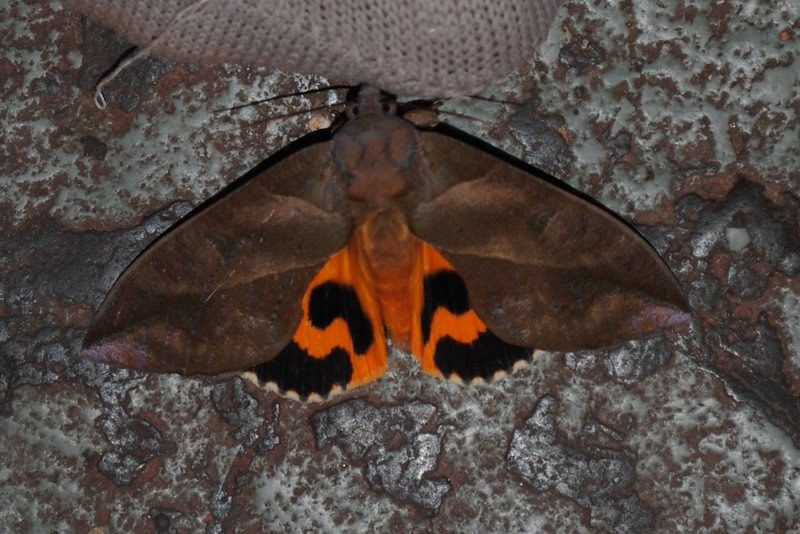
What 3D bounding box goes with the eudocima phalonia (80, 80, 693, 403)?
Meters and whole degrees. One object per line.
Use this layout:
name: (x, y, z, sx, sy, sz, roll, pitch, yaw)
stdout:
eudocima phalonia: (-0.024, -0.063, 4.653, 2.461, 0.573, 1.157, 2, 86, 0)
